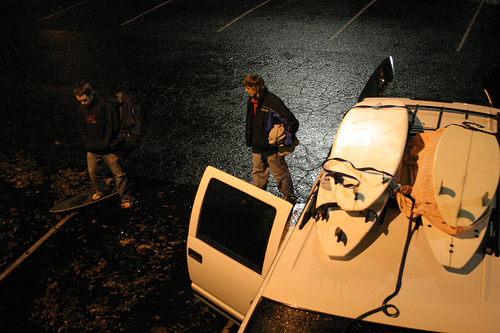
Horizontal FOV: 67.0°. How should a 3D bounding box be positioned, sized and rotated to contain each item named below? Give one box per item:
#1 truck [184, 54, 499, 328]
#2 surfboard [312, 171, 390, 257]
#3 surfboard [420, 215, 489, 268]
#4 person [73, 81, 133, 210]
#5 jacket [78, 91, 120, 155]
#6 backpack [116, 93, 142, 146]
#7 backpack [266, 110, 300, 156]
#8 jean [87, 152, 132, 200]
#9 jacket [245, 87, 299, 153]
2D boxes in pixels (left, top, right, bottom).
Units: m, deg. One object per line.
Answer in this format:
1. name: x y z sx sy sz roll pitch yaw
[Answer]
1. truck: 1.943 0.863 5.658 2.508 1.508 4.157 18 59 22
2. surfboard: 1.191 0.427 4.848 0.751 0.321 1.428 5 37 12
3. surfboard: 2.555 0.828 4.756 0.666 0.206 2.027 9 10 28
4. person: -2.706 -0.343 6.974 0.824 2.191 1.084 -12 39 -17
5. jacket: -2.743 -0.783 6.866 0.751 1.039 0.598 -9 38 -13
6. backpack: -2.207 -0.847 6.901 0.469 0.830 0.564 -6 37 -10
7. backpack: 0.500 -0.544 6.344 0.621 0.244 0.615 -27 86 -15
8. jean: -2.681 0.159 7.244 0.870 1.006 0.312 12 38 14
9. jacket: 0.285 -0.809 6.609 0.498 1.135 1.205 -18 17 -42
